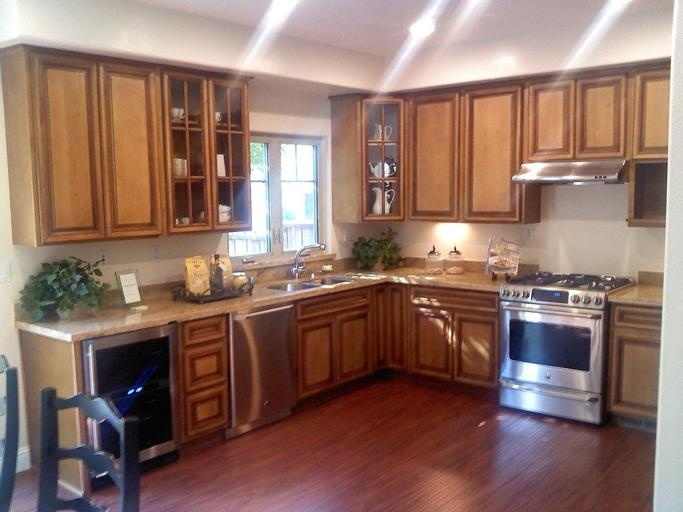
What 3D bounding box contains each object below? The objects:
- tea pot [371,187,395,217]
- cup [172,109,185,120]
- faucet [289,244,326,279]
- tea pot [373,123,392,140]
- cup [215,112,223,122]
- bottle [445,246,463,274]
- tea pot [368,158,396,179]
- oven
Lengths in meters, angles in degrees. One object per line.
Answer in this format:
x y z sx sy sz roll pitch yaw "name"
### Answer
0.407 -0.535 5.340 0.290 0.301 0.199 1 1 -4 "tea pot"
-1.219 -1.064 4.041 0.093 0.067 0.074 5 -8 -31 "cup"
-0.267 0.021 5.086 0.356 0.417 0.263 1 9 7 "faucet"
0.401 -1.214 5.293 0.210 0.197 0.115 6 0 -8 "tea pot"
-0.968 -1.099 4.260 0.070 0.056 0.058 3 4 15 "cup"
1.106 0.034 5.259 0.223 0.331 0.216 0 4 0 "bottle"
0.392 -0.889 5.374 0.240 0.226 0.173 -8 20 -14 "tea pot"
1.708 0.762 4.705 1.009 1.158 0.801 2 2 37 "oven"
